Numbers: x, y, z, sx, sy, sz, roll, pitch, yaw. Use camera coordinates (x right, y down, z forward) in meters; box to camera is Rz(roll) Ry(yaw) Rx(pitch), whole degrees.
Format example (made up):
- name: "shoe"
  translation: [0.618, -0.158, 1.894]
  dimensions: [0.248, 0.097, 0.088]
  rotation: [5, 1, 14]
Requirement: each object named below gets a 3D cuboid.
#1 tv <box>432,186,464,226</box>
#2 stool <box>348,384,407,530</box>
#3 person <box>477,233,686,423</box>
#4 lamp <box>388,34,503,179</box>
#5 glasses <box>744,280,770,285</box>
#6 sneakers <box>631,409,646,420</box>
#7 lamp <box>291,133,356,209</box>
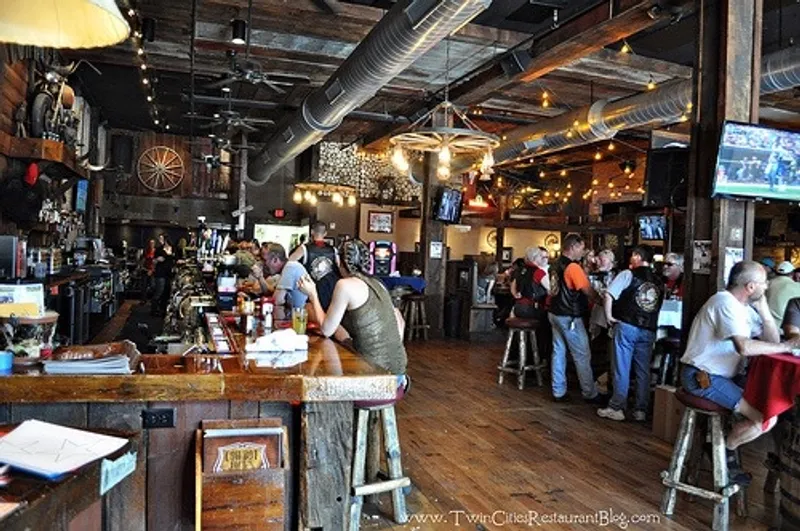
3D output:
- name: "tv"
  translation: [0.875, -1.125, 10.952]
  dimensions: [0.327, 0.698, 0.633]
  rotation: [10, 11, 43]
- name: "stool"
  translation: [-0.133, 1.355, 4.337]
  dimensions: [0.433, 1.119, 0.872]
  rotation: [3, 8, 5]
- name: "person"
  translation: [2.373, 0.666, 6.900]
  dimensions: [0.835, 1.974, 1.297]
  rotation: [-2, 9, -26]
- name: "lamp"
  translation: [0.461, -2.194, 8.825]
  dimensions: [1.858, 1.946, 1.794]
  rotation: [0, -2, 24]
- name: "glasses"
  translation: [2.836, 0.135, 4.715]
  dimensions: [0.148, 0.037, 0.041]
  rotation: [2, 8, -1]
- name: "sneakers"
  translation: [2.648, 1.637, 6.531]
  dimensions: [0.141, 0.114, 0.126]
  rotation: [4, 8, 11]
- name: "lamp"
  translation: [-1.928, -2.396, 15.623]
  dimensions: [1.676, 1.645, 1.640]
  rotation: [3, -2, -33]
